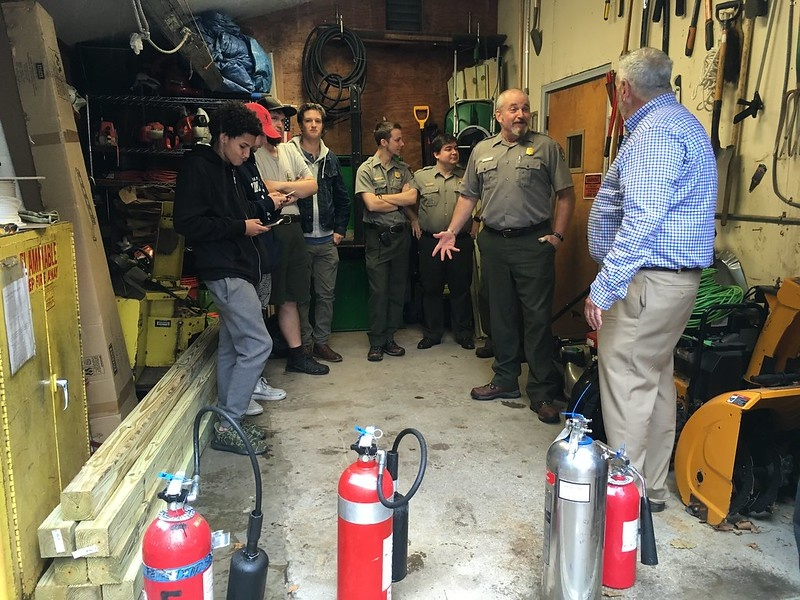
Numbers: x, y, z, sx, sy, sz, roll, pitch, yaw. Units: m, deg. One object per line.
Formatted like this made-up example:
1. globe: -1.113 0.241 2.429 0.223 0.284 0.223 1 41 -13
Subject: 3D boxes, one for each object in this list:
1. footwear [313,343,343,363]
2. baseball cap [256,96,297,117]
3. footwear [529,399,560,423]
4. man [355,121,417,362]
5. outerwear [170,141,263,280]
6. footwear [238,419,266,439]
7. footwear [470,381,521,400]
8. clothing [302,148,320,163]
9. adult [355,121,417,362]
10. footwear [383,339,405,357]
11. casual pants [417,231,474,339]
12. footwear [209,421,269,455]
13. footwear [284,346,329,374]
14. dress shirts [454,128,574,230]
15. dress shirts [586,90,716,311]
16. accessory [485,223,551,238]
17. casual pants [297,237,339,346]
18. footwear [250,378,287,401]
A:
1. footwear: -0.607 0.455 5.134 0.302 0.207 0.106 2 5 22
2. baseball cap: -0.941 -1.462 4.631 0.287 0.102 0.192 25 15 26
3. footwear: 0.956 0.734 4.000 0.093 0.085 0.207 -1 -1 -11
4. man: -0.083 -0.518 5.262 0.515 1.949 0.728 -3 14 -3
5. outerwear: -1.033 -0.468 3.494 0.505 0.805 0.292 -11 17 -31
6. footwear: -0.894 0.793 3.761 0.083 0.100 0.239 -12 9 -35
7. footwear: 0.663 0.654 4.351 0.354 0.134 0.127 4 0 -6
8. clothing: -0.720 -1.161 4.987 0.104 0.120 0.064 -9 -9 -13
9. adult: -0.083 -0.518 5.262 0.515 1.949 0.728 -3 14 -3
10. footwear: -0.046 0.430 5.305 0.098 0.077 0.201 -5 5 -34
11. casual pants: 0.421 -0.140 5.527 0.501 1.048 0.316 3 -17 -6
12. footwear: -0.940 0.828 3.602 0.357 0.131 0.405 2 7 -11
13. footwear: -0.674 0.491 4.843 0.431 0.250 0.154 0 4 -4
14. dress shirts: 0.794 -0.847 4.241 0.832 0.665 0.361 3 10 30
15. dress shirts: 1.145 -0.434 2.782 0.552 0.976 0.451 2 15 16
16. accessory: 0.782 -0.467 4.137 0.418 0.090 0.149 0 14 9
17. casual pants: -0.727 -0.058 5.210 0.367 0.911 0.229 1 -3 -14
18. footwear: -0.917 0.649 4.363 0.318 0.137 0.103 -1 6 -15
